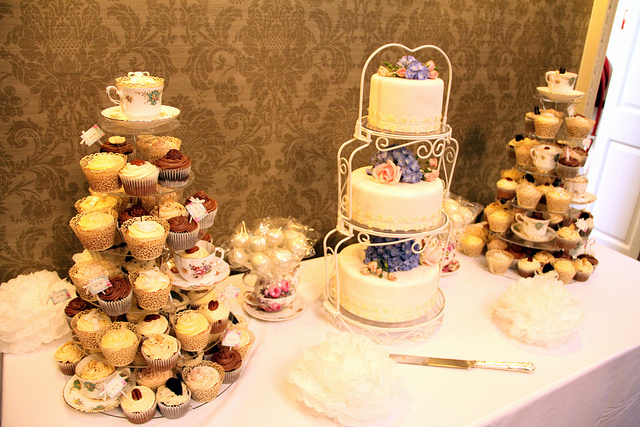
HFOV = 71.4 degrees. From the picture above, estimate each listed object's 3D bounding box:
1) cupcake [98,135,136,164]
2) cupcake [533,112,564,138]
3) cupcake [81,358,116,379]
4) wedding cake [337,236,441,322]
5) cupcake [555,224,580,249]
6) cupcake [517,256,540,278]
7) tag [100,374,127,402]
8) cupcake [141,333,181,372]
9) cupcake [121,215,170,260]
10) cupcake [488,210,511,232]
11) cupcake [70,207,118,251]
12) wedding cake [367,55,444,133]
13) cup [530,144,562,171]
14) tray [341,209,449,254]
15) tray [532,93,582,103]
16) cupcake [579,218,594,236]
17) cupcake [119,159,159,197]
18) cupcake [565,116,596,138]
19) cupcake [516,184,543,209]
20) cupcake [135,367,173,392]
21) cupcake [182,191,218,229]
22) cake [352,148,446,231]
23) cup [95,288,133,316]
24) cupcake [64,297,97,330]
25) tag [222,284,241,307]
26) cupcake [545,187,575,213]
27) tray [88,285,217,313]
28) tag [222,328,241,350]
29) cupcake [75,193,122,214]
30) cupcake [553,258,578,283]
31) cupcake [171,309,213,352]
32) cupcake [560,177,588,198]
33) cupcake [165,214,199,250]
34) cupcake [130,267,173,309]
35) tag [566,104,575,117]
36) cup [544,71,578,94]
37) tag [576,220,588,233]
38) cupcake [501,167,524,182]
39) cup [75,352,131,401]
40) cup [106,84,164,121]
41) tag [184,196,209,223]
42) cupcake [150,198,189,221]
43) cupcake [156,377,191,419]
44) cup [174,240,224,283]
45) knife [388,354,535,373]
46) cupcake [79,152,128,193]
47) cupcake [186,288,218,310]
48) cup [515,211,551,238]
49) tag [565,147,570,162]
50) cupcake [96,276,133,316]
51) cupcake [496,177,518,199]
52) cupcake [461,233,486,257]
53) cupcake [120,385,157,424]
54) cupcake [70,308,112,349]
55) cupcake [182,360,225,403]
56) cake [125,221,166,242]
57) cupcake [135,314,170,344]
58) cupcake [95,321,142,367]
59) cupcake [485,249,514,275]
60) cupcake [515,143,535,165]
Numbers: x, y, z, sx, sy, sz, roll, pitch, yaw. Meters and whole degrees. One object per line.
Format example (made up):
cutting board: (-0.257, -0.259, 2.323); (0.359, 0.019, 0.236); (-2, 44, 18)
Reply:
cupcake: (-0.910, -0.302, 2.003); (0.149, 0.123, 0.143); (4, 9, -15)
cupcake: (1.466, -0.548, 2.799); (0.170, 0.121, 0.160); (-2, 10, 7)
cupcake: (-0.982, 0.691, 1.963); (0.115, 0.035, 0.109); (5, 29, -6)
wedding cake: (0.359, 0.356, 2.367); (0.500, 0.338, 0.479); (-6, 29, -14)
cupcake: (1.551, 0.141, 2.793); (0.132, 0.119, 0.134); (0, 19, 7)
cupcake: (1.308, 0.321, 2.842); (0.134, 0.138, 0.130); (-6, 13, -30)
tag: (-0.874, 0.732, 1.891); (0.120, 0.068, 0.036); (-40, 10, -12)
cupcake: (-0.678, 0.593, 1.911); (0.162, 0.119, 0.164); (0, 27, -9)
cupcake: (-0.745, 0.125, 1.899); (0.168, 0.119, 0.164); (-1, 13, -27)
cupcake: (1.188, 0.051, 2.989); (0.136, 0.111, 0.130); (-6, 27, -4)
cupcake: (-0.937, 0.068, 1.909); (0.182, 0.138, 0.174); (-3, 29, -10)
wedding cake: (0.421, -0.587, 2.236); (0.360, 0.315, 0.356); (-9, 17, -28)
cup: (1.387, -0.346, 2.773); (0.180, 0.131, 0.148); (-12, 26, -5)
tray: (0.394, 0.105, 2.221); (0.333, 0.075, 0.315); (-3, 43, -6)
tray: (1.511, -0.730, 2.805); (0.238, 0.025, 0.229); (3, 10, -7)
cupcake: (1.756, 0.095, 2.915); (0.044, 0.124, 0.075); (11, 1, -33)
cupcake: (-0.754, -0.144, 1.921); (0.159, 0.131, 0.154); (5, 20, 5)
cupcake: (1.582, -0.536, 2.713); (0.146, 0.103, 0.144); (10, 20, 21)
cupcake: (1.312, -0.103, 2.845); (0.152, 0.119, 0.146); (2, 26, -1)
cupcake: (-0.748, 0.731, 1.975); (0.127, 0.045, 0.125); (0, 3, -8)
cupcake: (-0.528, -0.023, 2.035); (0.151, 0.160, 0.169); (5, 12, 0)
cake: (0.411, -0.107, 2.362); (0.522, 0.345, 0.524); (6, 9, 45)
cup: (-0.896, 0.391, 1.914); (0.122, 0.070, 0.124); (12, 11, -2)
cupcake: (-1.105, 0.427, 2.020); (0.139, 0.127, 0.140); (12, 14, 42)
tag: (-0.439, 0.408, 2.192); (0.090, 0.034, 0.128); (9, 37, -3)
cupcake: (1.460, -0.084, 2.743); (0.157, 0.110, 0.153); (7, 30, 14)
tray: (-0.799, 0.437, 2.182); (0.606, 0.085, 0.598); (-2, -18, 7)
tag: (-0.420, 0.591, 2.107); (0.080, 0.022, 0.080); (4, 49, -4)
cupcake: (-0.984, -0.057, 1.962); (0.130, 0.060, 0.116); (0, 21, -7)
cupcake: (1.526, 0.343, 2.752); (0.139, 0.098, 0.137); (7, 19, 22)
cupcake: (-0.584, 0.525, 2.074); (0.175, 0.145, 0.178); (0, 16, -2)
cupcake: (1.611, -0.178, 2.855); (0.156, 0.114, 0.145); (-2, 26, 6)
cupcake: (-0.613, 0.086, 2.010); (0.143, 0.116, 0.145); (18, 23, 36)
cupcake: (-0.744, 0.330, 1.919); (0.151, 0.129, 0.158); (12, 15, -33)
tag: (1.606, -0.661, 2.825); (0.048, 0.052, 0.061); (-6, 35, 14)
cup: (1.494, -0.816, 2.763); (0.170, 0.092, 0.142); (-2, 19, 12)
tag: (1.698, 0.075, 2.852); (0.060, 0.056, 0.014); (-9, -9, -1)
cupcake: (1.305, -0.269, 3.006); (0.109, 0.063, 0.107); (3, 14, 11)
cup: (-0.972, 0.735, 2.009); (0.224, 0.142, 0.168); (1, 27, -4)
cup: (-0.796, -0.492, 1.938); (0.214, 0.135, 0.151); (-5, 31, -10)
tag: (-0.536, -0.016, 1.949); (0.026, 0.095, 0.097); (-22, 11, 44)
cupcake: (-0.682, -0.017, 1.998); (0.125, 0.053, 0.121); (6, 21, 2)
cupcake: (-0.647, 0.816, 1.962); (0.145, 0.136, 0.115); (-4, 31, -8)
cup: (-0.552, 0.244, 2.074); (0.219, 0.144, 0.173); (-9, 12, -4)
knife: (0.683, 0.748, 2.205); (0.771, 0.041, 0.109); (3, 30, 2)
cupcake: (-0.910, -0.182, 1.926); (0.180, 0.133, 0.176); (-16, 29, -42)
cupcake: (-0.566, 0.399, 2.115); (0.128, 0.073, 0.116); (7, 10, 14)
cup: (1.391, 0.110, 2.908); (0.215, 0.151, 0.168); (2, -4, 26)
tag: (1.508, -0.361, 2.708); (0.021, 0.088, 0.024); (26, -18, -26)
cupcake: (-0.881, 0.363, 1.895); (0.124, 0.119, 0.115); (-7, 17, -21)
cupcake: (1.225, -0.163, 2.905); (0.128, 0.124, 0.130); (8, 11, 41)
cupcake: (1.027, 0.196, 3.032); (0.165, 0.125, 0.159); (5, 29, 5)
cupcake: (-0.767, 0.807, 1.956); (0.159, 0.151, 0.152); (-1, 33, -8)
cupcake: (-0.993, 0.498, 1.970); (0.168, 0.116, 0.160); (7, 22, -12)
cupcake: (-0.530, 0.748, 2.003); (0.171, 0.116, 0.169); (-2, 23, -6)
cake: (-0.733, 0.071, 1.839); (0.106, 0.033, 0.101); (-6, 33, -25)
cupcake: (-0.743, 0.498, 1.969); (0.126, 0.110, 0.124); (11, 9, 20)
cupcake: (-0.860, 0.547, 1.959); (0.198, 0.138, 0.188); (4, 22, -1)
cupcake: (1.152, 0.303, 2.891); (0.153, 0.103, 0.155); (20, 31, 35)
cupcake: (1.303, -0.389, 2.878); (0.128, 0.092, 0.117); (19, 35, 36)
